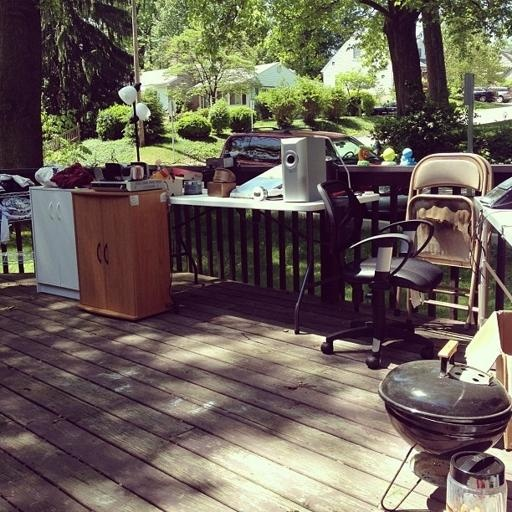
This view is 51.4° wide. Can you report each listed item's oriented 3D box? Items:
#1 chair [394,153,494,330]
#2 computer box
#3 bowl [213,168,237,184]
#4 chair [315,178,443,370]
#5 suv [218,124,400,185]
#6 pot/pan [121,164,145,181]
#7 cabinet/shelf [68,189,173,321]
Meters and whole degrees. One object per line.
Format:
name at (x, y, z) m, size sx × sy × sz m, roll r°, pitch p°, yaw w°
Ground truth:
chair at (1.291, -0.133, 3.600) m, size 0.640 × 1.129 × 0.556 m, roll 11°, pitch 16°, yaw 38°
computer box at (0.327, -0.601, 3.771) m, size 0.276 × 0.482 × 0.261 m, roll 15°, pitch 18°, yaw 41°
bowl at (-0.244, -0.639, 4.255) m, size 0.141 × 0.124 × 0.061 m, roll 8°, pitch 56°, yaw 20°
chair at (0.747, 0.021, 3.332) m, size 0.735 × 1.105 × 0.799 m, roll 11°, pitch 17°, yaw 32°
suv at (0.743, -1.255, 7.853) m, size 2.573 × 1.255 × 1.378 m, roll 5°, pitch 11°, yaw 34°
pot/pan at (-0.962, -0.667, 4.218) m, size 0.190 × 0.126 × 0.609 m, roll -4°, pitch 11°, yaw -11°
cabinet/shelf at (-1.069, -0.089, 4.218) m, size 0.684 × 0.897 × 0.492 m, roll 5°, pitch 10°, yaw 33°
